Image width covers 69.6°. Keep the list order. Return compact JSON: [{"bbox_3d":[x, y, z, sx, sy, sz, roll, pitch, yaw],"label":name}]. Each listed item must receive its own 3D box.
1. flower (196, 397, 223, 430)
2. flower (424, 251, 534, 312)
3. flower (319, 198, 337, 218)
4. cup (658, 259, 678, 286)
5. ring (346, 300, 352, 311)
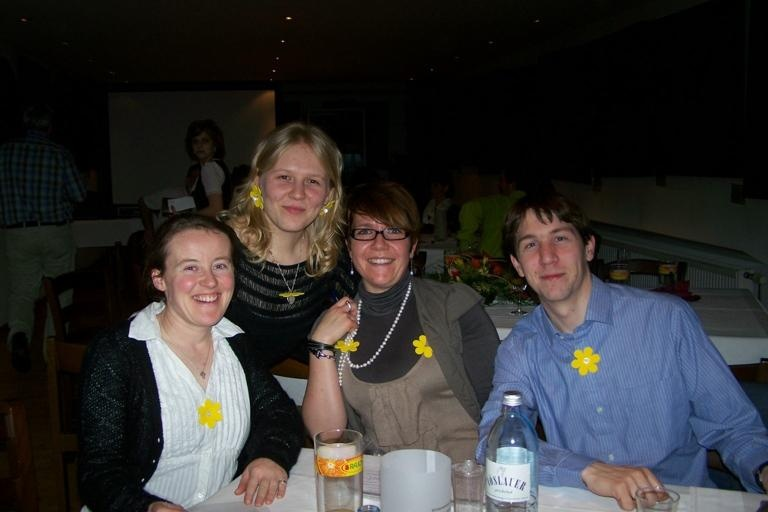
[{"bbox_3d":[-0.731,0.663,2.330,0.100,0.119,0.036,0,3,-16],"label":"flower"},{"bbox_3d":[0.777,0.171,4.148,0.544,0.250,0.481,7,-1,7],"label":"flower"},{"bbox_3d":[-0.313,-0.269,3.116,0.093,0.034,0.069,-36,-23,-7],"label":"flower"},{"bbox_3d":[2.257,0.134,4.390,0.193,0.211,0.195,-2,3,0],"label":"cup"},{"bbox_3d":[-0.169,0.240,2.665,0.013,0.028,0.035,-33,-9,-2],"label":"ring"}]
